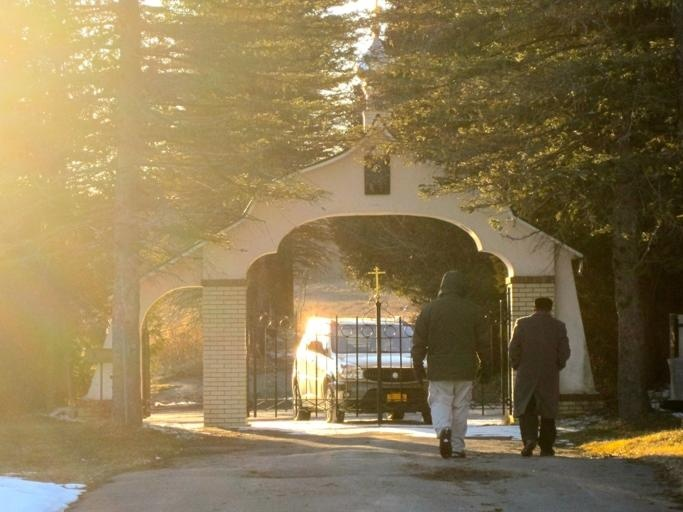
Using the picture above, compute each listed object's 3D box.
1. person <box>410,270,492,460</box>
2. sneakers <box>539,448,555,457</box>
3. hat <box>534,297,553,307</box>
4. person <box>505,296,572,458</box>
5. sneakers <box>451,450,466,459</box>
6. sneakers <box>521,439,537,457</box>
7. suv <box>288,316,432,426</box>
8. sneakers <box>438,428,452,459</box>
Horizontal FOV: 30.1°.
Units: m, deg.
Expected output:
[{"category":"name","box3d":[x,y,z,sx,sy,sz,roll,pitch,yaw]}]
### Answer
[{"category":"person","box3d":[1.582,1.462,17.428,0.970,2.542,0.913,-12,21,-26]},{"category":"sneakers","box3d":[2.837,2.707,17.447,0.199,0.126,0.310,-2,-14,9]},{"category":"hat","box3d":[2.838,0.656,17.853,0.153,0.091,0.161,-1,-3,36]},{"category":"person","box3d":[2.746,1.654,17.623,0.811,2.239,0.344,-1,-12,7]},{"category":"sneakers","box3d":[1.582,2.676,17.061,0.190,0.087,0.073,7,-6,-10]},{"category":"sneakers","box3d":[2.574,2.641,17.366,0.239,0.221,0.163,2,-12,-11]},{"category":"suv","box3d":[0.214,2.165,24.238,1.481,1.457,3.053,2,-11,-15]},{"category":"sneakers","box3d":[1.390,2.512,16.987,0.152,0.387,0.155,-2,0,7]}]
